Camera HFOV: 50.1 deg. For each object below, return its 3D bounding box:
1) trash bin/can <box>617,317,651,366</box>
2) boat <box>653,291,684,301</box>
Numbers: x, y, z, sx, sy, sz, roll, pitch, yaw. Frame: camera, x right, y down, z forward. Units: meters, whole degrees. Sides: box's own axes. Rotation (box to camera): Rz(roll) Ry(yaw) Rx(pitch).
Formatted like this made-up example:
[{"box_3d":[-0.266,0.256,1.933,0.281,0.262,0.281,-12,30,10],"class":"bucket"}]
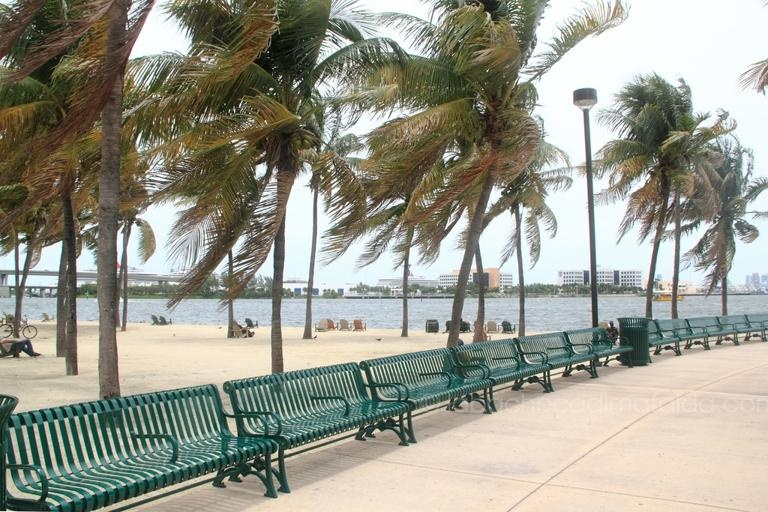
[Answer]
[{"box_3d":[6.324,2.217,20.789,0.833,1.156,0.855,3,-10,-44],"class":"trash bin/can"},{"box_3d":[38.026,5.467,110.754,2.571,0.987,4.013,2,0,-30],"class":"boat"}]
